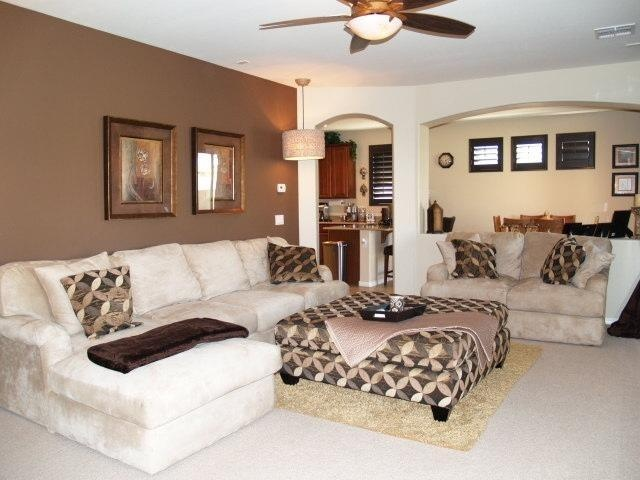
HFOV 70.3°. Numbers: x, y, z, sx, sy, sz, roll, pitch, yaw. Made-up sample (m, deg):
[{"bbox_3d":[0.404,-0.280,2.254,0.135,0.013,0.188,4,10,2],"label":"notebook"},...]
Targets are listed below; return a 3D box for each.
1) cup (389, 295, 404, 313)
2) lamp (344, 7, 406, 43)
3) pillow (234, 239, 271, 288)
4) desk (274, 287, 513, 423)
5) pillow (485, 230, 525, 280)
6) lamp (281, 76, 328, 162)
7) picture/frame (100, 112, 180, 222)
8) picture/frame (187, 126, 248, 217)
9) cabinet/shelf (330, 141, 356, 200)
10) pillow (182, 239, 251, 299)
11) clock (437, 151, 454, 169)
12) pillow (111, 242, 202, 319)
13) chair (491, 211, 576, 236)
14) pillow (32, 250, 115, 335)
[{"bbox_3d":[0.640,0.541,3.797,0.118,0.109,0.114,0,0,0],"label":"cup"},{"bbox_3d":[0.348,-1.451,3.089,0.228,0.063,0.218,0,1,33],"label":"lamp"},{"bbox_3d":[-0.877,0.287,5.413,0.155,0.468,0.525,-20,-6,30],"label":"pillow"},{"bbox_3d":[0.928,0.853,3.763,1.202,0.413,1.185,0,5,36],"label":"desk"},{"bbox_3d":[2.361,0.193,5.737,0.557,0.505,0.200,-4,-4,19],"label":"pillow"},{"bbox_3d":[-0.269,-1.635,6.202,0.530,1.077,1.011,-2,10,-5],"label":"lamp"},{"bbox_3d":[-1.859,-0.738,4.712,0.202,1.005,0.856,5,12,30],"label":"picture/frame"},{"bbox_3d":[-1.233,-0.829,5.481,0.221,0.977,0.860,5,12,28],"label":"picture/frame"},{"bbox_3d":[0.503,-1.537,10.181,0.593,1.242,0.337,-1,11,0],"label":"cabinet/shelf"},{"bbox_3d":[-1.136,0.288,4.863,0.193,0.561,0.631,-34,-14,33],"label":"pillow"},{"bbox_3d":[2.695,-1.711,9.791,0.341,0.347,0.104,1,11,13],"label":"clock"},{"bbox_3d":[-1.544,0.364,4.349,0.215,0.637,0.691,-35,-12,38],"label":"pillow"},{"bbox_3d":[3.336,-0.247,7.189,0.831,0.418,1.017,0,-1,-4],"label":"chair"},{"bbox_3d":[-1.982,0.420,3.622,0.176,0.524,0.588,-33,-10,33],"label":"pillow"}]
